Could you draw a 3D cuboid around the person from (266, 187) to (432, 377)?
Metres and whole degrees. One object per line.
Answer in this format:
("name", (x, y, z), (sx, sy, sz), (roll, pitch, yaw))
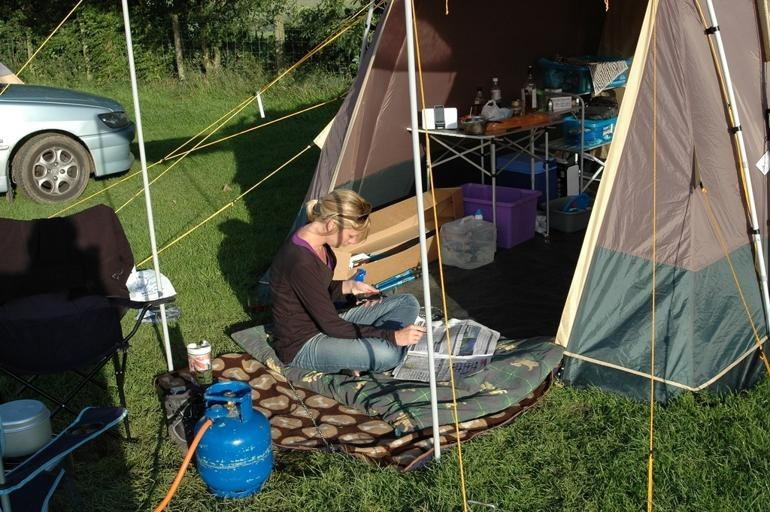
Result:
("person", (-0.260, -0.014, 4.529), (1.215, 1.342, 1.024), (2, 31, 2))

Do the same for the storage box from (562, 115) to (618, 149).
("storage box", (2.130, -1.255, 6.809), (0.515, 0.206, 0.370), (-9, 13, -43))

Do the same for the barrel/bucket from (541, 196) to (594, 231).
("barrel/bucket", (1.816, -0.413, 6.445), (0.407, 0.147, 0.317), (-14, 21, -38))

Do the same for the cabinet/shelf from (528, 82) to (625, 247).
("cabinet/shelf", (1.732, -0.857, 6.046), (0.511, 1.322, 1.359), (10, 24, 31))

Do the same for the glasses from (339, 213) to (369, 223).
("glasses", (-0.196, -0.228, 4.045), (0.184, 0.060, 0.039), (-8, 21, -18))

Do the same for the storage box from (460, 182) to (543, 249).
("storage box", (1.089, -0.394, 6.264), (0.725, 0.371, 0.526), (10, 18, 38))

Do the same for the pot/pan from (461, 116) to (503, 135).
("pot/pan", (0.838, -1.141, 5.880), (0.283, 0.107, 0.196), (-2, 6, -27))

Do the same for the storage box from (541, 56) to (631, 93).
("storage box", (2.127, -1.883, 6.783), (0.523, 0.253, 0.686), (15, 27, 41))
